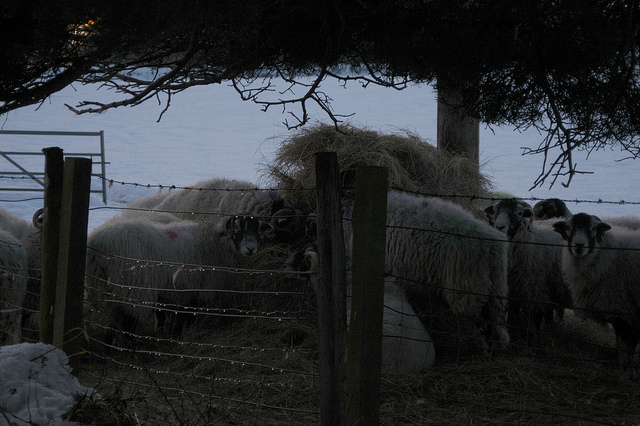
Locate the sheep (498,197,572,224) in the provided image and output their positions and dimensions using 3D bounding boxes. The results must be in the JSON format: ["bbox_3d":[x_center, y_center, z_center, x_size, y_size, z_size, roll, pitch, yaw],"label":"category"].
[{"bbox_3d":[2.516,-0.018,11.004,0.725,0.391,0.360,1,-8,-6],"label":"sheep"}]

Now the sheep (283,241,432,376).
[{"bbox_3d":[0.239,1.001,9.562,1.727,1.410,2.082,3,3,13],"label":"sheep"}]

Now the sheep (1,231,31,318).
[{"bbox_3d":[-3.393,0.684,10.376,0.327,0.924,0.527,1,2,-17],"label":"sheep"}]
